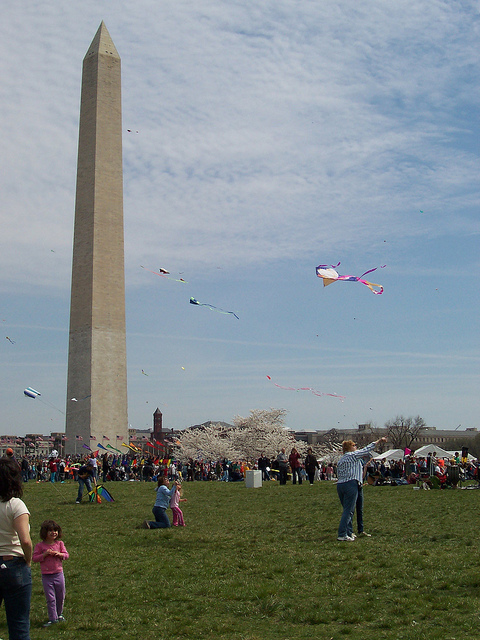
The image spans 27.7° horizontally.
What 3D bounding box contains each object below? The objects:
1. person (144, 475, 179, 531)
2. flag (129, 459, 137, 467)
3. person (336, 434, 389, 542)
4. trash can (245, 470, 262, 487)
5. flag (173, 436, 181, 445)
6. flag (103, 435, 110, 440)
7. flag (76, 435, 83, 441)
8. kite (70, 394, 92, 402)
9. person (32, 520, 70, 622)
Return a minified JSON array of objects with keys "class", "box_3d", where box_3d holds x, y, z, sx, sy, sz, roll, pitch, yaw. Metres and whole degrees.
[{"class":"person","box_3d":[-1.322,3.085,16.378,0.575,0.865,1.230,-1,-10,-4]},{"class":"flag","box_3d":[-4.121,5.529,37.277,0.498,0.221,0.631,3,-9,-5]},{"class":"person","box_3d":[1.622,2.397,13.733,0.608,1.404,1.799,-3,-10,6]},{"class":"trash can","box_3d":[0.359,4.423,27.351,0.466,0.562,0.611,1,7,1]},{"class":"flag","box_3d":[-4.629,8.877,71.048,0.517,0.548,1.602,-2,-1,-10]},{"class":"flag","box_3d":[-6.641,5.833,47.980,0.311,0.265,0.031,2,-27,-8]},{"class":"flag","box_3d":[-7.983,5.858,48.147,0.123,0.311,0.742,5,-11,-30]},{"class":"kite","box_3d":[-7.871,3.907,48.113,1.567,0.291,0.129,-11,-14,44]},{"class":"person","box_3d":[-1.897,2.510,9.712,0.328,0.973,0.349,1,-11,-11]}]
